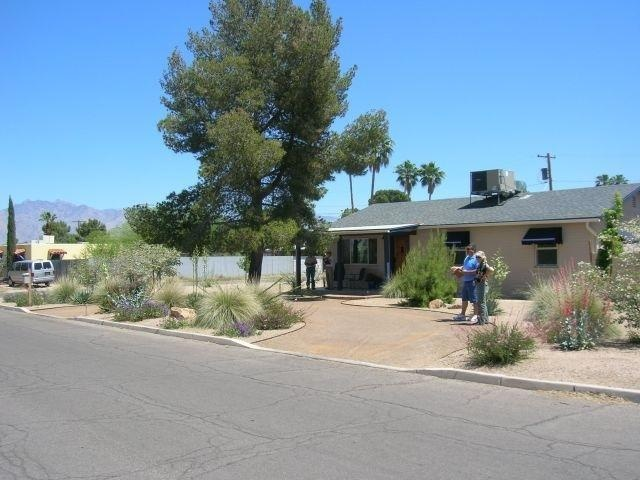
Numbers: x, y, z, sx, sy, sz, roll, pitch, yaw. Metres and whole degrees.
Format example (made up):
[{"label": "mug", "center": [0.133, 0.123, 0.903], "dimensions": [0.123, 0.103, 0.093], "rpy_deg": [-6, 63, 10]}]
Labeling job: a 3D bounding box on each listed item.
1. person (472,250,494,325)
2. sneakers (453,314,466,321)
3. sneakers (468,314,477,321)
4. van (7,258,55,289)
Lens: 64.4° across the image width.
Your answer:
[{"label": "person", "center": [4.400, 1.290, 13.707], "dimensions": [0.417, 1.915, 0.537], "rpy_deg": [0, 1, 13]}, {"label": "sneakers", "center": [3.946, 2.187, 14.502], "dimensions": [0.142, 0.179, 0.394], "rpy_deg": [0, -1, -34]}, {"label": "sneakers", "center": [4.308, 2.176, 14.349], "dimensions": [0.188, 0.112, 0.231], "rpy_deg": [-2, 2, 11]}, {"label": "van", "center": [-21.896, 2.592, 38.608], "dimensions": [2.964, 1.771, 1.826], "rpy_deg": [7, 3, 37]}]
